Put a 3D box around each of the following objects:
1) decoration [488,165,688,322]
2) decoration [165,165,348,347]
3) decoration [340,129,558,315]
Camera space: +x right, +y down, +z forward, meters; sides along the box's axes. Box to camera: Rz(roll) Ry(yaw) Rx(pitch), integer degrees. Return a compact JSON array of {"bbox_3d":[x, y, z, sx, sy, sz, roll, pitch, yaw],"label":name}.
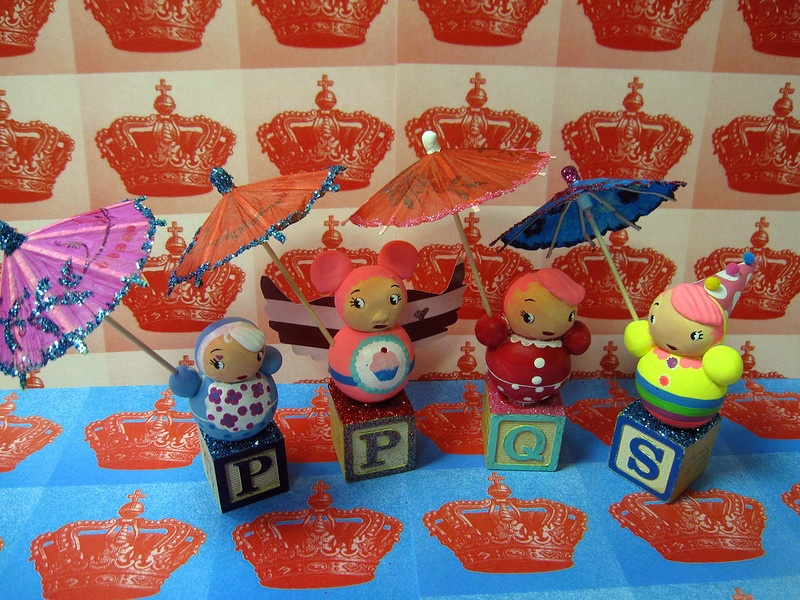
[{"bbox_3d":[0.773,-0.237,2.980,0.721,0.568,0.703,-14,-16,10],"label":"decoration"},{"bbox_3d":[-0.541,-0.290,2.804,0.588,0.466,0.488,7,22,12],"label":"decoration"},{"bbox_3d":[0.220,-0.307,2.759,0.745,0.686,0.730,-15,-8,-9],"label":"decoration"}]
